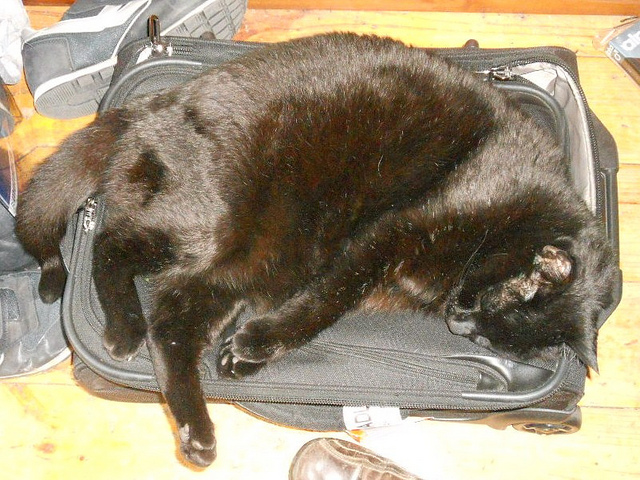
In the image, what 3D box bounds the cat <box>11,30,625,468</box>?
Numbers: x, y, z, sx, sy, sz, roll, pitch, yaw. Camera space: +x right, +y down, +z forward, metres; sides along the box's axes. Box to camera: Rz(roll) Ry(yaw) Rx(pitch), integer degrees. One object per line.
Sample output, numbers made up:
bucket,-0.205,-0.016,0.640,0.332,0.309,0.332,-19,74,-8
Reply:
cat,-0.023,-0.038,1.498,1.340,0.493,0.742,-6,55,0
